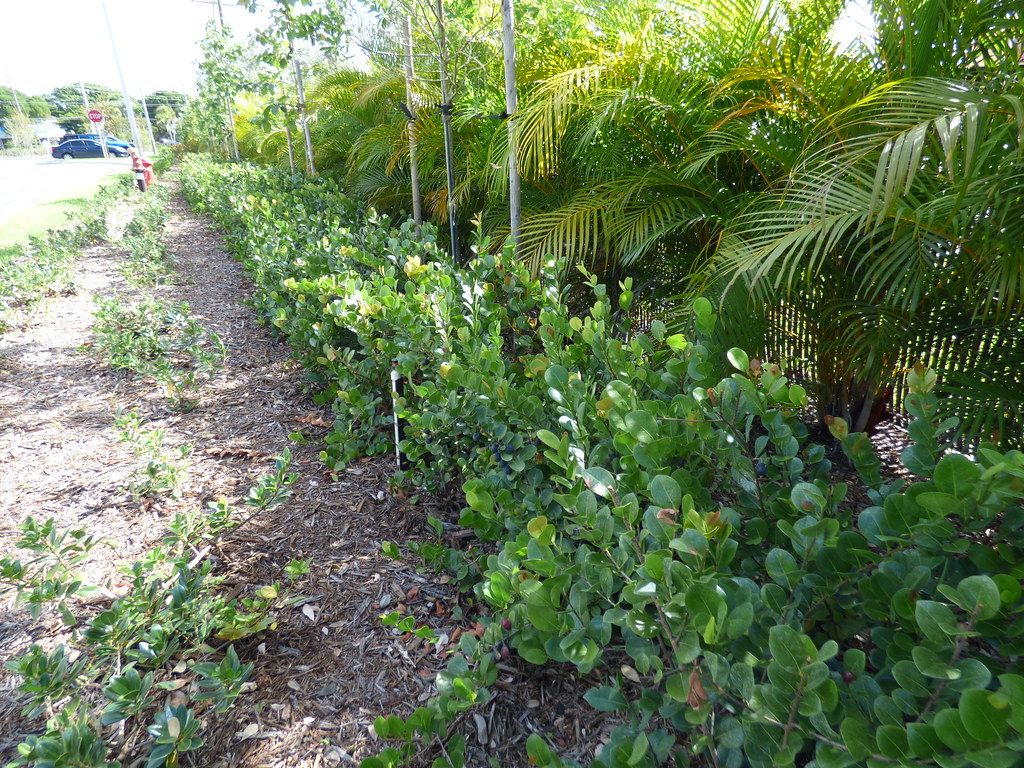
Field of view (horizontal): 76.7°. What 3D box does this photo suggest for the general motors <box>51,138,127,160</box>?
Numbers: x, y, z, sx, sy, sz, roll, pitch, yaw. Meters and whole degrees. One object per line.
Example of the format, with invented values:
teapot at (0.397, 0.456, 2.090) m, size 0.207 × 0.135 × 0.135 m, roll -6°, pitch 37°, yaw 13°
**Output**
general motors at (-26.272, -14.778, 40.682) m, size 1.608 × 1.271 × 4.518 m, roll 6°, pitch 23°, yaw 18°
